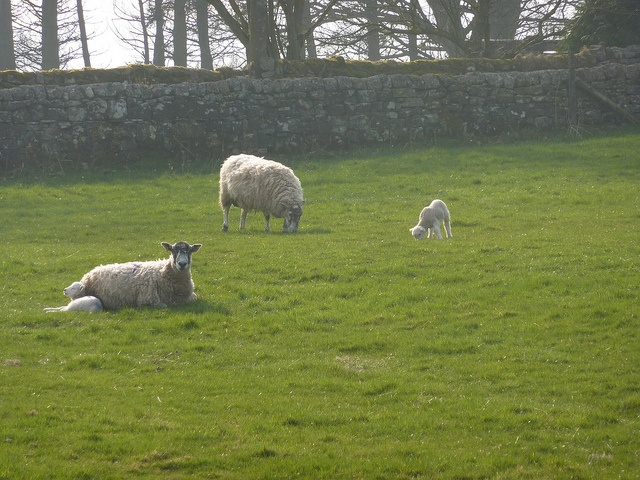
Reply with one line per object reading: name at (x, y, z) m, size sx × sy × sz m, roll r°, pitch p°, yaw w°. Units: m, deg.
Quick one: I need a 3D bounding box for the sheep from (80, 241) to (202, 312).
sheep at (-4.216, 0.967, 30.403) m, size 3.201 × 2.021 × 1.523 m, roll -1°, pitch 22°, yaw 31°

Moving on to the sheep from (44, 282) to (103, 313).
sheep at (-5.996, 1.437, 29.943) m, size 1.336 × 0.892 × 0.606 m, roll 11°, pitch -3°, yaw -11°

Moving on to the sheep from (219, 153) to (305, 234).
sheep at (-1.631, -1.286, 34.522) m, size 2.461 × 2.080 × 0.977 m, roll -1°, pitch 7°, yaw 13°

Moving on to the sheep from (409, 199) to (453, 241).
sheep at (3.118, -0.476, 33.518) m, size 0.559 × 1.020 × 1.701 m, roll -1°, pitch 18°, yaw 39°
